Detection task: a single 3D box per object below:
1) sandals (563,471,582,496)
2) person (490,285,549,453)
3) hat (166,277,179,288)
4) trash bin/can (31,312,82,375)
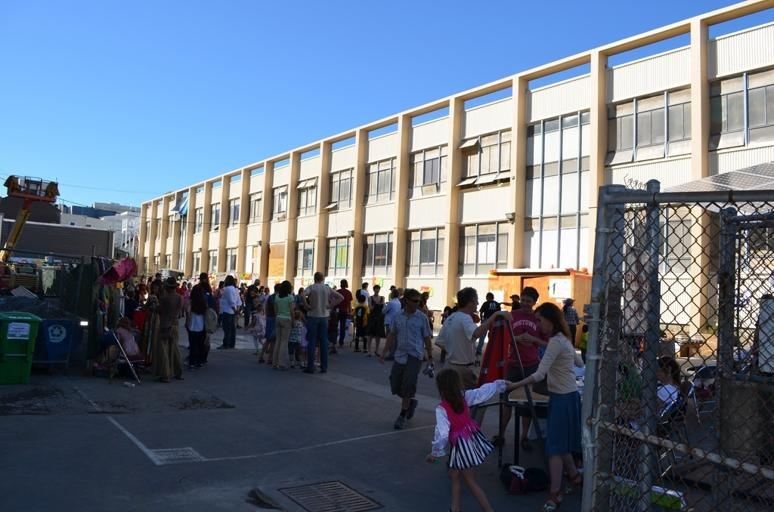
[{"bbox_3d":[2.509,3.069,7.911,0.163,0.216,0.482,-13,-15,30],"label":"sandals"},{"bbox_3d":[2.175,1.755,9.450,0.709,2.467,0.718,5,-6,-5],"label":"person"},{"bbox_3d":[-4.773,0.571,13.110,0.207,0.256,0.270,8,23,-18],"label":"hat"},{"bbox_3d":[-7.641,1.813,13.485,1.099,1.184,0.864,7,0,-34],"label":"trash bin/can"}]
